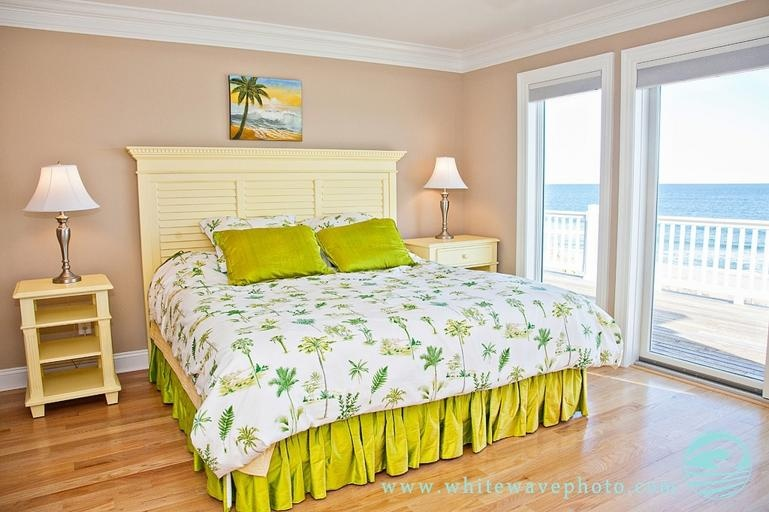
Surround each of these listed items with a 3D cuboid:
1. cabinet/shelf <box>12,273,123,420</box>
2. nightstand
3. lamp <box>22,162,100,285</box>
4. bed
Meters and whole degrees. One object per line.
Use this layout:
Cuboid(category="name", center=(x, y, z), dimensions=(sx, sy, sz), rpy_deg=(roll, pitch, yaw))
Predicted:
Cuboid(category="cabinet/shelf", center=(-2.576, 0.680, 4.157), dimensions=(0.661, 0.997, 0.726), rpy_deg=(-7, 11, -29))
Cuboid(category="nightstand", center=(0.736, 0.142, 5.698), dimensions=(0.905, 0.708, 0.589), rpy_deg=(-5, 15, -19))
Cuboid(category="lamp", center=(-2.614, -0.274, 4.157), dimensions=(0.498, 0.939, 0.471), rpy_deg=(-7, 11, -27))
Cuboid(category="bed", center=(-0.564, 0.478, 4.398), dimensions=(3.296, 2.125, 3.051), rpy_deg=(-4, 6, -29))
